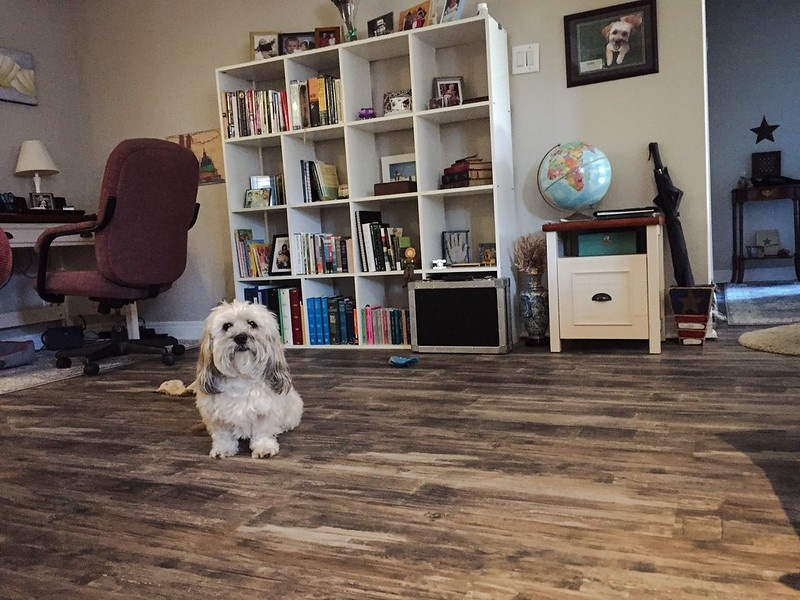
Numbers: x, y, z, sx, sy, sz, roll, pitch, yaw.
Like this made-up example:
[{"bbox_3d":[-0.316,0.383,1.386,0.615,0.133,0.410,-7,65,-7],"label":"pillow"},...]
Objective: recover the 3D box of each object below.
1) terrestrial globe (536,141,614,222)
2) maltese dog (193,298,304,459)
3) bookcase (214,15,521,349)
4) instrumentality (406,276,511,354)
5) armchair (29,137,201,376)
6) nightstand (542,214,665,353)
[{"bbox_3d":[1.069,-0.706,3.831,0.447,0.510,0.418,-2,19,15],"label":"terrestrial globe"},{"bbox_3d":[-0.574,0.276,2.445,0.359,0.592,0.605,1,7,-1],"label":"maltese dog"},{"bbox_3d":[-0.141,-0.771,4.079,2.271,2.184,0.689,0,6,12],"label":"bookcase"},{"bbox_3d":[0.372,0.100,3.771,0.452,0.380,0.160,1,8,19],"label":"instrumentality"},{"bbox_3d":[-1.669,-0.239,3.795,0.855,1.347,0.583,-1,6,23],"label":"armchair"},{"bbox_3d":[1.210,-0.106,3.674,0.617,0.732,0.418,-1,9,23],"label":"nightstand"}]
